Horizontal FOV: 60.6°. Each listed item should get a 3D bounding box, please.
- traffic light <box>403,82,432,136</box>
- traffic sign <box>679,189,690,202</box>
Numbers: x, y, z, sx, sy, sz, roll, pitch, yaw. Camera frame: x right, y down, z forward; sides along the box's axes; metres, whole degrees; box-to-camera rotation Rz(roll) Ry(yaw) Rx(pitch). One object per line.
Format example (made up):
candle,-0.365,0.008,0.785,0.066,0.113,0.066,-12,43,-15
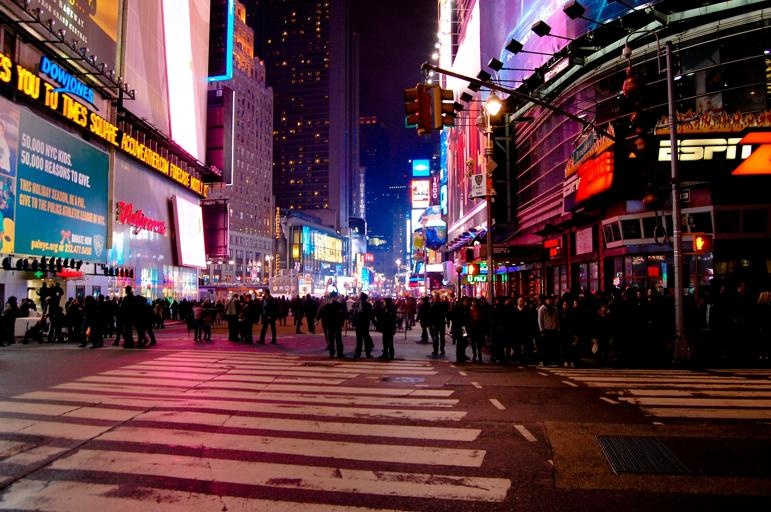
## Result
traffic light,1.196,-5.270,23.846,1.016,1.811,0.606,1,12,4
traffic sign,14.788,-2.943,32.739,0.238,0.625,0.441,-7,13,-29
